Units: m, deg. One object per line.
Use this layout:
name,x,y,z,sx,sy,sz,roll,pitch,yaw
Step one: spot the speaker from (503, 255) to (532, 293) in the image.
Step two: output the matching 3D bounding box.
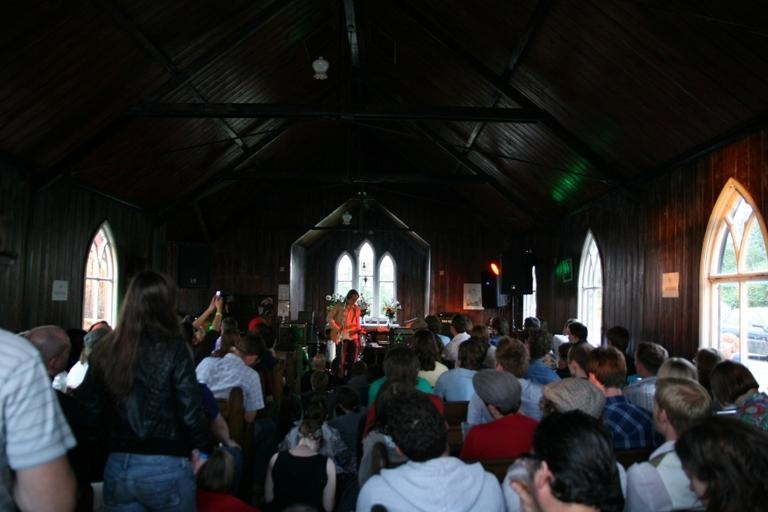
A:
speaker,2.813,0.391,12.100,0.619,0.963,0.465,2,-8,-6
